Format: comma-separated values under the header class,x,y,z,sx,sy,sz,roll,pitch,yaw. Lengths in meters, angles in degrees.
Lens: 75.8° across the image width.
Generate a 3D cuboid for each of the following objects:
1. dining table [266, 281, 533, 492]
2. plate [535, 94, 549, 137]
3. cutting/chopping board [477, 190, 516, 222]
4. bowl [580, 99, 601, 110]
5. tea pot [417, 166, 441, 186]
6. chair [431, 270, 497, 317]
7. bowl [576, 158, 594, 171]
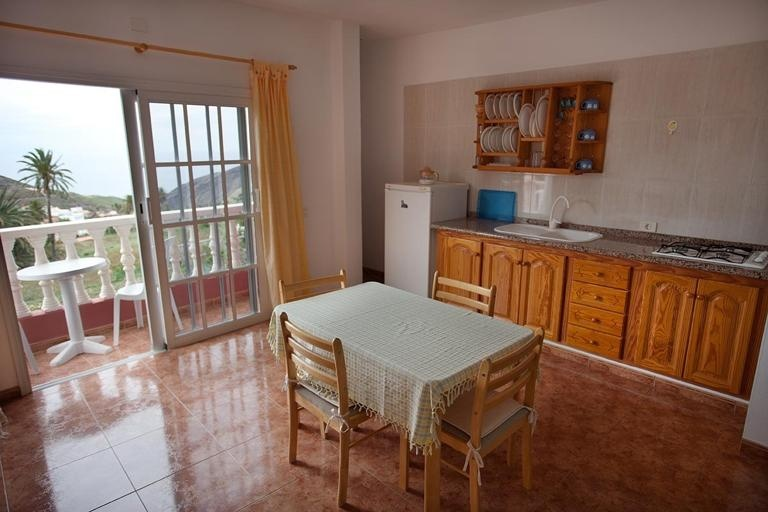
class,x,y,z,sx,sy,sz,roll,pitch,yaw
dining table,0.187,0.677,3.563,1.308,0.410,1.764,-13,19,-41
plate,1.666,-1.466,5.220,0.126,0.405,0.087,1,14,17
cutting/chopping board,1.357,-0.596,5.885,0.047,0.276,0.367,-6,14,-41
bowl,2.086,-1.527,5.003,0.160,0.114,0.080,1,14,15
tea pot,0.548,-0.987,6.126,0.301,0.220,0.221,-6,10,-43
chair,0.771,0.345,4.649,0.386,0.648,0.397,9,14,33
bowl,2.090,-0.945,5.149,0.165,0.119,0.130,2,14,19
